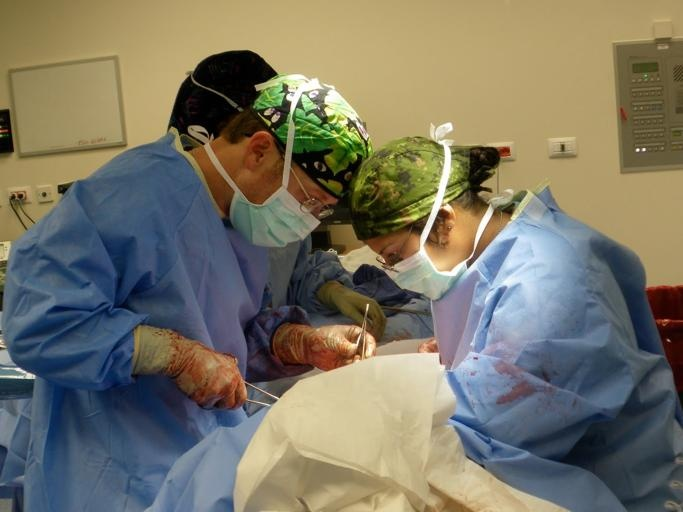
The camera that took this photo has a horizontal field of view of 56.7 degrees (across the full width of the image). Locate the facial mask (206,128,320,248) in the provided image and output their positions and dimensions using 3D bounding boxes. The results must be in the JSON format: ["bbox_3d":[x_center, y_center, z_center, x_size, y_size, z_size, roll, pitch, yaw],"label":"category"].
[{"bbox_3d":[-0.246,-0.214,2.292,0.220,0.392,0.360,-12,4,16],"label":"facial mask"}]

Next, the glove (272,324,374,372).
[{"bbox_3d":[-0.068,0.307,2.366,0.299,0.141,0.187,-1,6,21],"label":"glove"}]

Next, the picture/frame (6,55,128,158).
[{"bbox_3d":[-1.657,-0.943,3.902,0.804,0.693,0.030,-5,10,6],"label":"picture/frame"}]

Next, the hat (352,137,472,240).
[{"bbox_3d":[0.278,-0.272,2.282,0.526,0.341,0.387,-10,15,-14],"label":"hat"}]

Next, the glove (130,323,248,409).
[{"bbox_3d":[-0.479,0.360,1.981,0.120,0.206,0.336,-26,-47,35],"label":"glove"}]

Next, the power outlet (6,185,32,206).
[{"bbox_3d":[-2.060,-0.400,4.073,0.163,0.135,0.090,2,3,6],"label":"power outlet"}]

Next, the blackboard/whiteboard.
[{"bbox_3d":[-1.651,-0.946,3.902,0.804,0.695,0.030,-5,10,6],"label":"blackboard/whiteboard"}]

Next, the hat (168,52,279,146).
[{"bbox_3d":[-0.445,-0.633,2.569,0.417,0.465,0.335,-1,38,3],"label":"hat"}]

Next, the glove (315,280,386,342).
[{"bbox_3d":[0.050,0.220,2.869,0.307,0.186,0.115,32,47,29],"label":"glove"}]
